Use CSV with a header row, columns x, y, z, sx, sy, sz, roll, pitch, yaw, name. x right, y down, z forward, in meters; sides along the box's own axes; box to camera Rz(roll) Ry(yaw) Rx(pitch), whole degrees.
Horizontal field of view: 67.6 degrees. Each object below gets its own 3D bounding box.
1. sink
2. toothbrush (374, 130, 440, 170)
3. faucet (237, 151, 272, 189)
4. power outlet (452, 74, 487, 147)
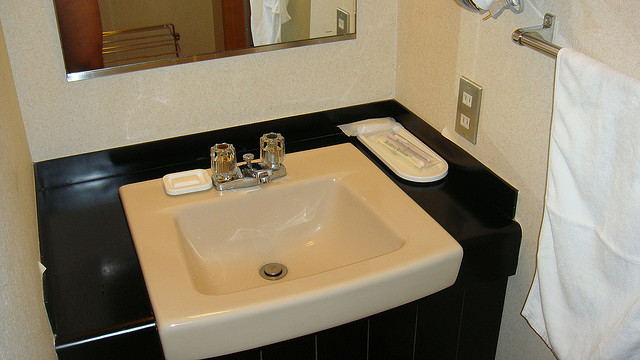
x,y,z,sx,sy,sz,roll,pitch,yaw,name
-0.163,0.191,1.658,0.592,0.198,0.419,-10,45,-14,sink
0.320,-0.113,1.798,0.126,0.020,0.270,-28,51,-29,toothbrush
-0.232,-0.032,1.710,0.097,0.066,0.198,-16,34,-27,faucet
0.511,-0.241,1.659,0.051,0.216,0.112,-24,34,-24,power outlet
